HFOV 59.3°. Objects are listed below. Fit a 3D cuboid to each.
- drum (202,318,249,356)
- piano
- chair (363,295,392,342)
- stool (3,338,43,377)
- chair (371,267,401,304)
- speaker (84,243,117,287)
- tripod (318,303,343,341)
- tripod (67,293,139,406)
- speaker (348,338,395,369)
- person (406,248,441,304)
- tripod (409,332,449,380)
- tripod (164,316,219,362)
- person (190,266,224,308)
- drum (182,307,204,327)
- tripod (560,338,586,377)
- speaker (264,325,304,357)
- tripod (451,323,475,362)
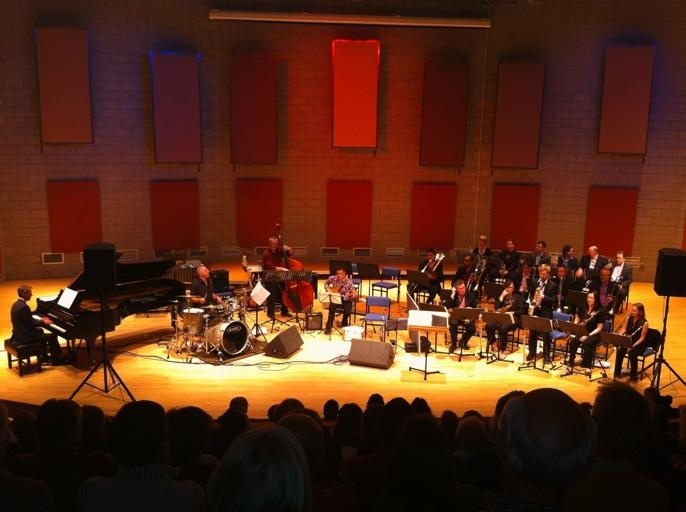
[{"bbox_3d":[-1.974,1.333,9.968,0.294,0.528,0.427,8,30,38],"label":"drum"},{"bbox_3d":[-3.468,0.694,9.578,1.487,1.799,2.747,6,8,33],"label":"piano"},{"bbox_3d":[0.630,1.195,11.414,0.560,0.802,0.540,-1,12,-20],"label":"chair"},{"bbox_3d":[-5.070,1.748,9.470,0.486,0.607,0.890,2,-3,-36],"label":"stool"},{"bbox_3d":[0.944,0.642,12.999,0.588,0.753,0.601,-5,16,-23],"label":"chair"},{"bbox_3d":[-3.167,0.119,7.782,0.352,0.671,0.480,6,9,25],"label":"speaker"},{"bbox_3d":[-0.195,1.178,11.676,0.354,0.592,0.982,2,1,0],"label":"tripod"},{"bbox_3d":[-3.713,1.410,9.158,1.018,1.934,0.873,9,20,21],"label":"tripod"},{"bbox_3d":[0.461,1.592,9.851,0.745,0.445,0.264,2,2,1],"label":"speaker"},{"bbox_3d":[1.785,0.423,12.859,0.682,1.154,2.342,2,1,13],"label":"person"},{"bbox_3d":[1.370,1.583,9.906,0.563,0.685,1.378,2,1,3],"label":"tripod"},{"bbox_3d":[-2.615,1.321,10.236,0.859,0.610,0.760,6,6,-19],"label":"tripod"},{"bbox_3d":[-2.520,0.538,11.001,0.523,0.704,1.178,1,1,-14],"label":"person"},{"bbox_3d":[-2.495,1.002,9.906,0.282,0.288,0.282,1,11,-6],"label":"drum"},{"bbox_3d":[3.810,1.615,9.978,0.304,0.614,0.874,3,1,22],"label":"tripod"},{"bbox_3d":[-1.011,1.360,10.226,0.476,0.441,0.605,-2,6,25],"label":"speaker"},{"bbox_3d":[2.156,1.458,10.775,0.427,0.617,1.113,2,1,16],"label":"tripod"}]
